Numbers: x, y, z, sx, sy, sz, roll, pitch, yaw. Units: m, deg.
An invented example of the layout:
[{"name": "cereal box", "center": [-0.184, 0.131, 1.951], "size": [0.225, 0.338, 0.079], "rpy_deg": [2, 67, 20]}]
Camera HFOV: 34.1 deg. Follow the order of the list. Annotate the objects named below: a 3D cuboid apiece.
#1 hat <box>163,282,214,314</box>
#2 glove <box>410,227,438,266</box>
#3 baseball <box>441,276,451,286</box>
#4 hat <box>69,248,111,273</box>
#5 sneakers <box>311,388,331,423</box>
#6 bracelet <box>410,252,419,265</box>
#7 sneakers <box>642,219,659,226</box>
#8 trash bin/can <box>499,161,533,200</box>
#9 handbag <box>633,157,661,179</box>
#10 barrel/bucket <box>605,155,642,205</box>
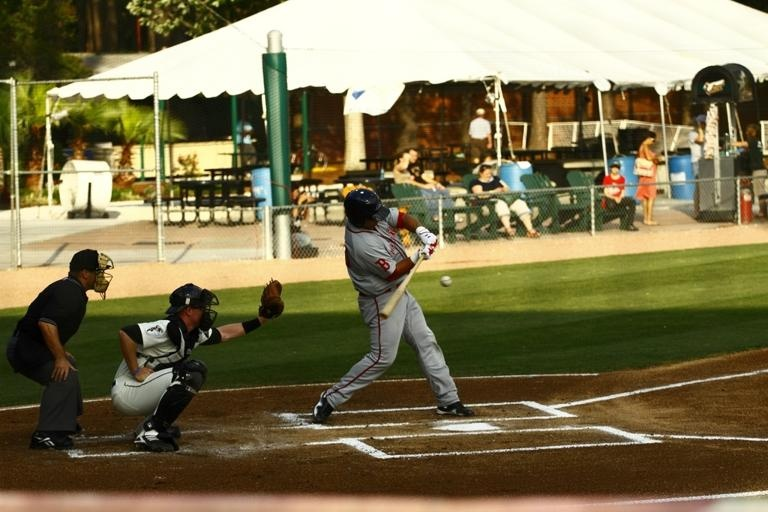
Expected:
[{"name": "hat", "center": [-3.073, 0.644, 19.762], "size": [0.608, 0.334, 0.457], "rpy_deg": [-5, 1, -18]}, {"name": "glove", "center": [0.631, -0.171, 20.391], "size": [0.427, 0.582, 0.254], "rpy_deg": [-14, 6, -12]}, {"name": "baseball", "center": [0.980, 0.421, 20.533], "size": [0.161, 0.169, 0.169], "rpy_deg": [0, 20, 26]}, {"name": "hat", "center": [-4.761, 0.075, 20.058], "size": [0.539, 0.301, 0.366], "rpy_deg": [-5, 8, -17]}, {"name": "sneakers", "center": [-1.047, 2.491, 20.587], "size": [0.238, 0.586, 0.260], "rpy_deg": [6, 0, -4]}, {"name": "bracelet", "center": [0.487, 0.019, 20.172], "size": [0.180, 0.189, 0.133], "rpy_deg": [0, 3, 34]}, {"name": "sneakers", "center": [6.690, -0.848, 31.574], "size": [0.421, 0.174, 0.132], "rpy_deg": [-4, 9, -19]}, {"name": "trash bin/can", "center": [3.633, -2.082, 33.876], "size": [0.839, 1.170, 0.784], "rpy_deg": [0, 2, 12]}, {"name": "handbag", "center": [6.990, -2.385, 33.739], "size": [0.822, 0.756, 0.337], "rpy_deg": [5, -2, -15]}, {"name": "barrel/bucket", "center": [7.204, -2.472, 38.380], "size": [0.891, 1.215, 0.926], "rpy_deg": [-2, 23, 1]}]
